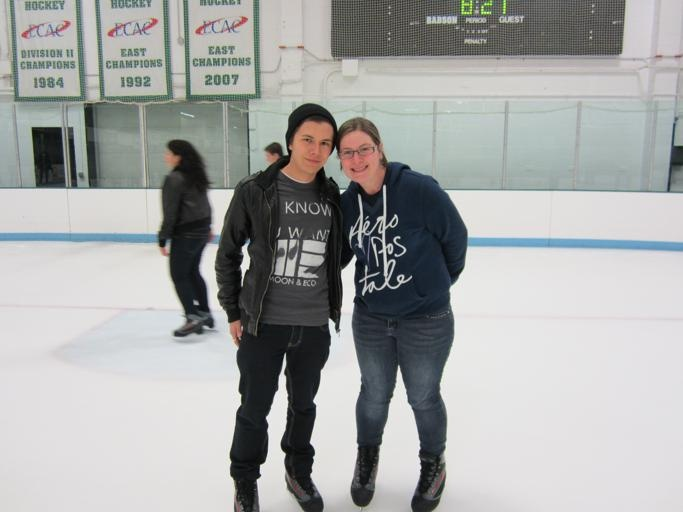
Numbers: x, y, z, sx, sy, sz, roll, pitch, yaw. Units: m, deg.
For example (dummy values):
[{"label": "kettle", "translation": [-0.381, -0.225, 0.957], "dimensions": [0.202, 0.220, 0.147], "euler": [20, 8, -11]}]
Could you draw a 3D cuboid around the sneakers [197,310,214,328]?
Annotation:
[{"label": "sneakers", "translation": [-1.246, 0.585, 5.629], "dimensions": [0.116, 0.143, 0.153], "euler": [9, 2, -12]}]

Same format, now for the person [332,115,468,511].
[{"label": "person", "translation": [0.335, 0.355, 3.591], "dimensions": [0.723, 2.256, 0.367], "euler": [2, 10, 11]}]

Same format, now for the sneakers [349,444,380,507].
[{"label": "sneakers", "translation": [0.130, 1.298, 3.695], "dimensions": [0.127, 0.149, 0.378], "euler": [3, 49, 3]}]

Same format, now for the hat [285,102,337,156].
[{"label": "hat", "translation": [-0.195, -0.796, 3.574], "dimensions": [0.288, 0.265, 0.299], "euler": [-16, 13, -11]}]

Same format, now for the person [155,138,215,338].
[{"label": "person", "translation": [-1.388, -0.157, 5.461], "dimensions": [0.454, 1.714, 0.343], "euler": [-2, 10, -13]}]
